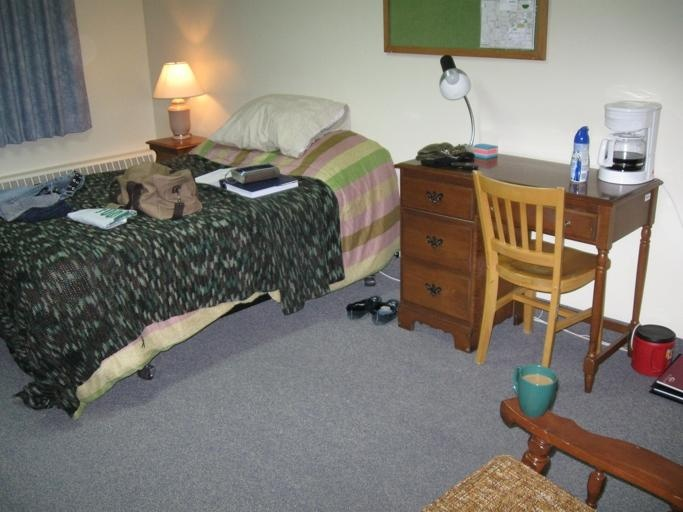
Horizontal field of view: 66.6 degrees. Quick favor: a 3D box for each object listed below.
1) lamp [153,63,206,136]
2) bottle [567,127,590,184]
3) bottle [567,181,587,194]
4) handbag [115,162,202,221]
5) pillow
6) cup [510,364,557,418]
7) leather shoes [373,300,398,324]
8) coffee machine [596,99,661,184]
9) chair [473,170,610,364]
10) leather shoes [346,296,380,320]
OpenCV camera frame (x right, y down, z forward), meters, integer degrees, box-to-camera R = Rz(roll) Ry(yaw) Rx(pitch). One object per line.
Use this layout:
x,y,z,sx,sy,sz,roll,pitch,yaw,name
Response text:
-1.434,-1.381,4.622,0.417,0.630,0.478,-8,24,-13,lamp
1.194,-0.508,2.598,0.084,0.244,0.227,8,25,22,bottle
1.130,-0.329,2.504,0.057,0.062,0.058,-9,20,-20,bottle
-1.084,-0.379,3.033,0.474,0.214,0.359,23,30,37,handbag
-0.455,-0.927,3.678,0.574,0.210,0.703,17,49,32,pillow
0.590,0.417,1.639,0.124,0.133,0.158,0,8,2,cup
0.271,0.359,3.282,0.097,0.062,0.173,17,29,36,leather shoes
1.416,-0.559,2.572,0.257,0.360,0.274,14,28,33,coffee machine
1.012,0.045,2.658,0.588,1.149,0.711,16,30,41,chair
0.134,0.333,3.309,0.210,0.086,0.108,-22,32,-30,leather shoes
